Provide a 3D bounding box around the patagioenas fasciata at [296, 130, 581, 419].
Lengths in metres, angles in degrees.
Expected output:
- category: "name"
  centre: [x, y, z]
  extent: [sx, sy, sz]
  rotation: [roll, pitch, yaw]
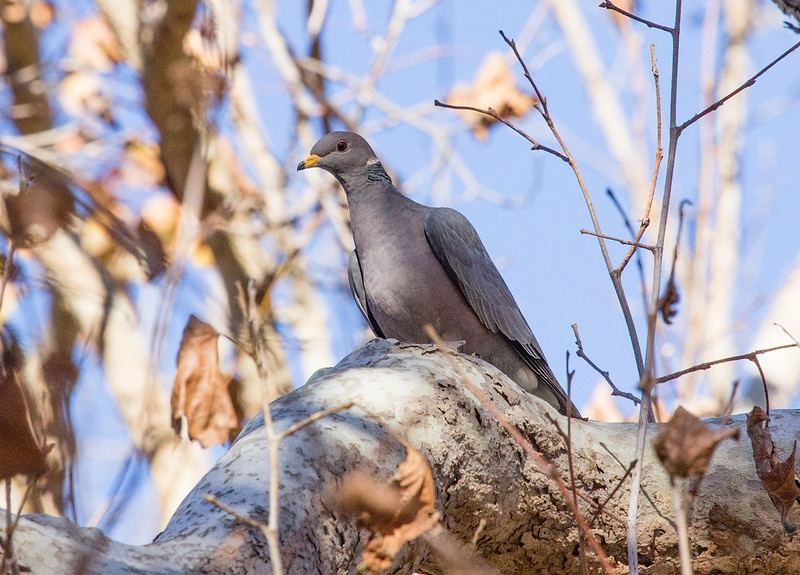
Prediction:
- category: "patagioenas fasciata"
  centre: [0.295, -0.012, 8.754]
  extent: [1.774, 1.536, 0.823]
  rotation: [16, -30, -38]
